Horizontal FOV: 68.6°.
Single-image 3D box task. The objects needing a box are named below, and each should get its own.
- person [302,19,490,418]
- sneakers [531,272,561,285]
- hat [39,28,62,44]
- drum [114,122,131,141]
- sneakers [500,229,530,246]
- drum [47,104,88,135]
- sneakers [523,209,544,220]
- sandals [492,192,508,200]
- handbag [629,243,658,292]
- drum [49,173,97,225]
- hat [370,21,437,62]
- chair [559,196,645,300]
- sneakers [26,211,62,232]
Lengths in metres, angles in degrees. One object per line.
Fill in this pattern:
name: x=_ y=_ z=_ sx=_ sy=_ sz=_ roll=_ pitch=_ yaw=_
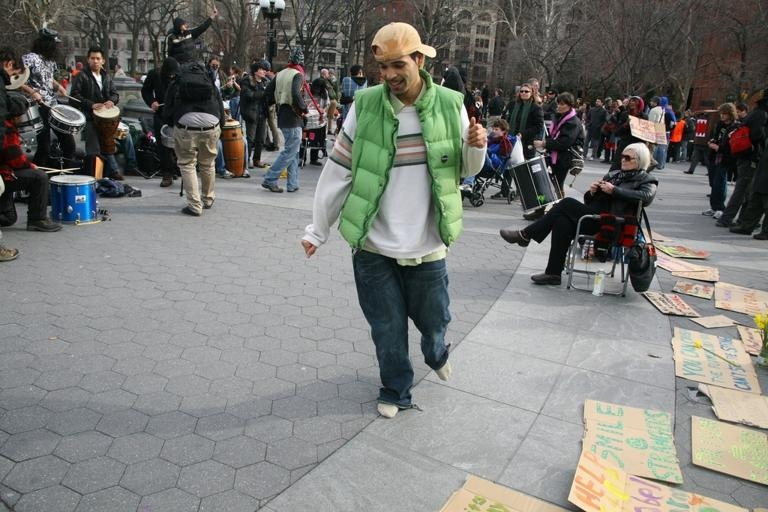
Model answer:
person: x=0.112 y=-0.230 z=4.464 sx=1.303 sy=3.021 sz=0.691 roll=2 pitch=16 yaw=8
sneakers: x=2.095 y=0.308 z=7.305 sx=0.341 sy=0.142 sz=0.149 roll=5 pitch=5 yaw=9
hat: x=-6.036 y=-3.970 z=10.216 sx=0.337 sy=0.278 sz=0.588 roll=-9 pitch=18 yaw=-29
drum: x=-5.138 y=-2.435 z=11.178 sx=0.327 sy=0.189 sz=0.316 roll=20 pitch=23 yaw=-9
sneakers: x=1.782 y=-0.238 z=7.634 sx=0.335 sy=0.154 sz=0.129 roll=17 pitch=58 yaw=4
drum: x=-5.041 y=-2.153 z=9.013 sx=0.484 sy=0.430 sz=0.556 roll=-4 pitch=16 yaw=-14
sneakers: x=2.746 y=-0.728 z=10.271 sx=0.140 sy=0.236 sz=0.342 roll=-21 pitch=28 yaw=-25
sandals: x=2.550 y=-1.309 z=12.504 sx=0.145 sy=0.142 sz=0.346 roll=-2 pitch=7 yaw=-20
handbag: x=3.115 y=0.142 z=6.834 sx=0.339 sy=0.554 sz=0.306 roll=3 pitch=-6 yaw=45
drum: x=-4.490 y=-0.871 z=8.483 sx=0.723 sy=0.647 sz=0.708 roll=6 pitch=12 yaw=15
hat: x=0.150 y=-1.543 z=4.191 sx=0.412 sy=0.190 sz=0.325 roll=-30 pitch=49 yaw=-30
chair: x=2.873 y=-0.150 z=7.334 sx=0.982 sy=1.145 sz=1.228 roll=5 pitch=17 yaw=18
sneakers: x=-4.659 y=-0.440 z=7.856 sx=0.465 sy=0.223 sz=0.206 roll=0 pitch=11 yaw=-20
